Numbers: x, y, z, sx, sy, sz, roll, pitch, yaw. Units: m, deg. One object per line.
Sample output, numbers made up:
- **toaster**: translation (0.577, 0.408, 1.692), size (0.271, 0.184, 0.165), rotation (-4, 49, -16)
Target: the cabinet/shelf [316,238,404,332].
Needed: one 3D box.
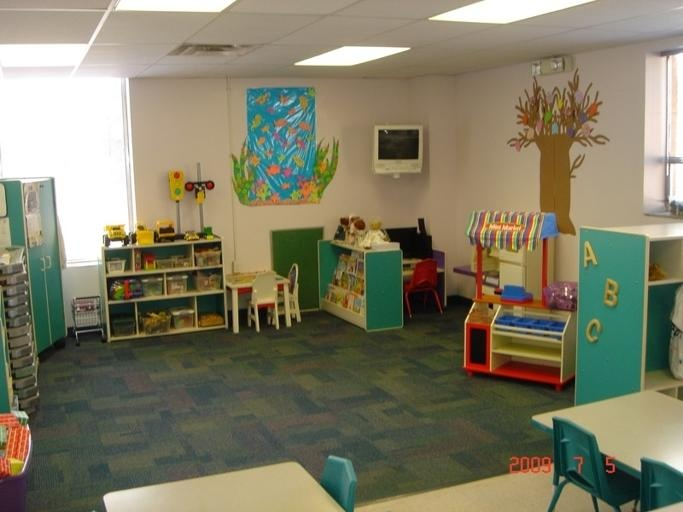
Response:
- **cabinet/shelf**: translation (0.168, 0.445, 8.677), size (0.607, 1.225, 1.570), rotation (0, 7, -33)

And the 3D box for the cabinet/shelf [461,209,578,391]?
- **cabinet/shelf**: translation (2.184, 0.398, 6.644), size (1.235, 1.892, 1.689), rotation (1, 11, 13)

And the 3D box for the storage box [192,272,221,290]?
- **storage box**: translation (-2.087, 0.386, 8.293), size (0.370, 0.196, 0.259), rotation (-2, 6, -17)

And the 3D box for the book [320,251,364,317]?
- **book**: translation (0.013, 0.458, 8.790), size (0.309, 0.900, 0.883), rotation (7, 6, -25)

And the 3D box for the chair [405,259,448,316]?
- **chair**: translation (1.266, 0.464, 8.717), size (0.600, 0.930, 0.626), rotation (-1, 5, -1)

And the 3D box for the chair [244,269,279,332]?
- **chair**: translation (-1.200, 0.709, 8.352), size (0.534, 0.864, 0.568), rotation (-4, 0, 26)

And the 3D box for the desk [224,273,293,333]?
- **desk**: translation (-1.375, 0.669, 8.697), size (1.032, 0.793, 1.037), rotation (-7, 14, -26)

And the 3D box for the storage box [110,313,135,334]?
- **storage box**: translation (-3.261, 1.054, 7.934), size (0.362, 0.239, 0.223), rotation (-1, 10, -1)

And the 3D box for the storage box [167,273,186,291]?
- **storage box**: translation (-2.524, 0.415, 8.123), size (0.350, 0.269, 0.203), rotation (-2, 4, -32)

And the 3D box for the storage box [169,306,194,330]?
- **storage box**: translation (-2.448, 0.946, 8.177), size (0.254, 0.224, 0.325), rotation (-2, 7, -27)

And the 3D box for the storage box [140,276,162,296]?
- **storage box**: translation (-2.832, 0.442, 7.966), size (0.241, 0.210, 0.269), rotation (-1, 2, -21)

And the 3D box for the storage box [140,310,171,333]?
- **storage box**: translation (-2.808, 0.999, 8.047), size (0.318, 0.214, 0.328), rotation (-3, 9, -22)

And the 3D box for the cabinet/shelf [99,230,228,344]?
- **cabinet/shelf**: translation (-2.632, 0.453, 8.108), size (1.622, 1.418, 0.519), rotation (-6, 13, -24)
